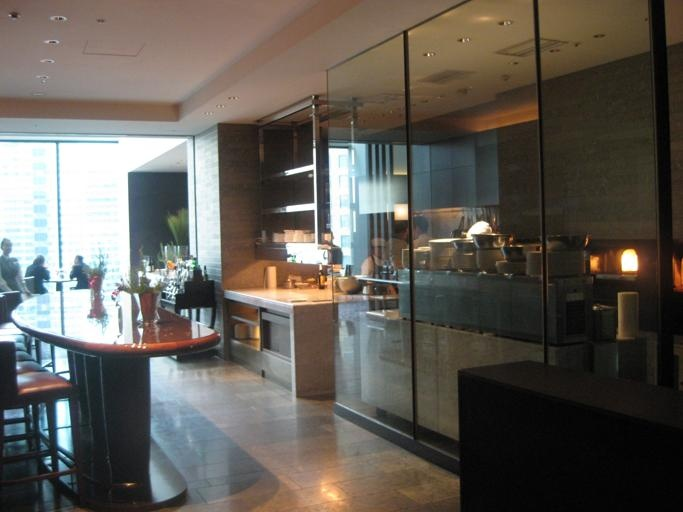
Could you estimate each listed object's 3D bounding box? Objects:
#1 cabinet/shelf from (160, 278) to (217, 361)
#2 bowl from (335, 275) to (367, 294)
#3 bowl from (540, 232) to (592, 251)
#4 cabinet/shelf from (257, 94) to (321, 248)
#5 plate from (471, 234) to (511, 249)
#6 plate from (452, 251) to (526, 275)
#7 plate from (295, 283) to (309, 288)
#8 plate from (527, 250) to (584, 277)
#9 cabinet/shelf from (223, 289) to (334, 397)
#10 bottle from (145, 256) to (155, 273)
[{"bbox_3d":[-2.116,0.874,7.758,0.601,1.113,1.154,-2,3,-26],"label":"cabinet/shelf"},{"bbox_3d":[0.070,0.251,4.843,0.172,0.108,0.175,-1,-3,0],"label":"bowl"},{"bbox_3d":[1.266,-0.078,3.151,0.041,0.088,0.266,-2,3,-38],"label":"bowl"},{"bbox_3d":[-0.607,-1.054,6.723,0.533,1.695,1.574,1,-1,-39],"label":"cabinet/shelf"},{"bbox_3d":[0.932,-0.092,3.535,0.040,0.098,0.276,-2,3,-30],"label":"plate"},{"bbox_3d":[0.927,0.034,3.588,0.051,0.147,0.586,-2,3,-32],"label":"plate"},{"bbox_3d":[-0.497,0.370,7.110,0.168,0.060,0.096,-1,3,-7],"label":"plate"},{"bbox_3d":[1.229,0.041,3.221,0.045,0.152,0.351,-2,3,-41],"label":"plate"},{"bbox_3d":[-0.630,0.926,6.611,0.880,0.936,1.783,-2,3,-35],"label":"cabinet/shelf"},{"bbox_3d":[-2.888,0.130,8.458,0.203,0.239,0.206,1,6,-10],"label":"bottle"}]
